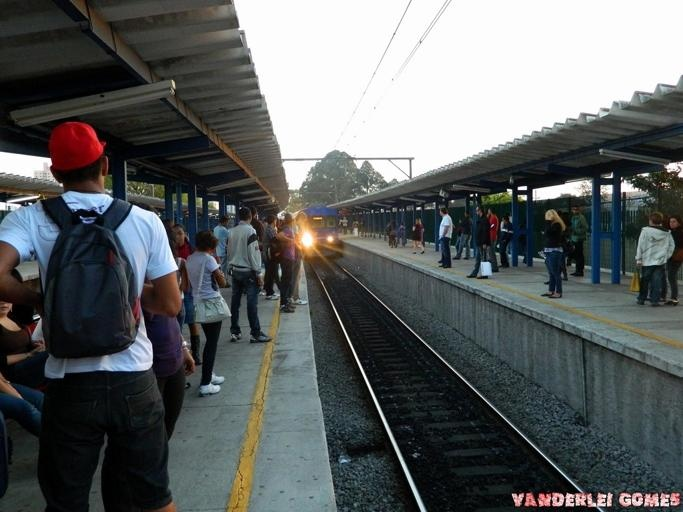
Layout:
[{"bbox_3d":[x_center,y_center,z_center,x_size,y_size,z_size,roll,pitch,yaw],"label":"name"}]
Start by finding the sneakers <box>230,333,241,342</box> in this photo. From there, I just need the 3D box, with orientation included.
[{"bbox_3d":[-1.722,1.329,8.908,0.075,0.096,0.202,2,-10,-27],"label":"sneakers"}]

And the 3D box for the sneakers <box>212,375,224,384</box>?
[{"bbox_3d":[-1.528,1.523,6.759,0.175,0.077,0.063,-2,7,-21],"label":"sneakers"}]

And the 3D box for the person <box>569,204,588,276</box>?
[{"bbox_3d":[5.918,-0.388,13.533,0.354,1.705,0.724,0,4,24],"label":"person"}]

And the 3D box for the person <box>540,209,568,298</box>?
[{"bbox_3d":[3.925,-0.068,10.078,0.366,1.568,1.089,0,4,22],"label":"person"}]

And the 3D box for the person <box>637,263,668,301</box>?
[{"bbox_3d":[5.050,0.444,8.902,0.347,0.756,0.219,4,-20,24],"label":"person"}]

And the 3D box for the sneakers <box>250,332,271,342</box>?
[{"bbox_3d":[-1.262,1.285,8.750,0.369,0.175,0.137,2,2,-7],"label":"sneakers"}]

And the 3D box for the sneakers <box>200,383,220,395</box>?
[{"bbox_3d":[-1.537,1.557,6.450,0.262,0.129,0.105,-4,8,-19],"label":"sneakers"}]

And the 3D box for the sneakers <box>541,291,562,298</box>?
[{"bbox_3d":[3.754,0.680,9.741,0.357,0.097,0.253,2,6,39],"label":"sneakers"}]

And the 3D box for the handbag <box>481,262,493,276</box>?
[{"bbox_3d":[3.280,0.284,12.317,0.338,0.331,0.149,-1,-1,-28],"label":"handbag"}]

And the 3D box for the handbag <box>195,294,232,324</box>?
[{"bbox_3d":[-1.492,0.637,6.274,0.411,0.279,0.278,0,-17,-22],"label":"handbag"}]

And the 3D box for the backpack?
[{"bbox_3d":[-1.236,0.100,2.700,0.435,0.793,0.340,-3,4,-21],"label":"backpack"}]

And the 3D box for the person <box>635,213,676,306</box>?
[{"bbox_3d":[5.187,0.042,9.015,0.686,1.517,0.441,-5,6,-44],"label":"person"}]
